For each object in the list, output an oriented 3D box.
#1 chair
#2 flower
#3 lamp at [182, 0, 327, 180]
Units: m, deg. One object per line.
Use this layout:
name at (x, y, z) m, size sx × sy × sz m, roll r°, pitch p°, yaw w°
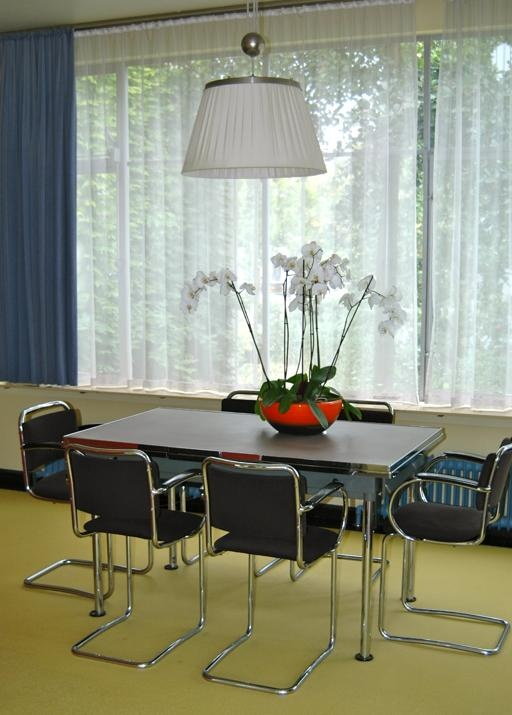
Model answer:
chair at (0.065, 0.665, 2.529) m, size 1.533 × 0.759 × 0.970 m, roll 1°, pitch 2°, yaw 24°
flower at (0.180, -0.065, 2.591) m, size 0.768 × 0.666 × 0.744 m, roll 3°, pitch 4°, yaw 1°
lamp at (-0.011, -0.669, 1.912) m, size 0.421 × 0.278 × 0.190 m, roll 1°, pitch 2°, yaw 4°
